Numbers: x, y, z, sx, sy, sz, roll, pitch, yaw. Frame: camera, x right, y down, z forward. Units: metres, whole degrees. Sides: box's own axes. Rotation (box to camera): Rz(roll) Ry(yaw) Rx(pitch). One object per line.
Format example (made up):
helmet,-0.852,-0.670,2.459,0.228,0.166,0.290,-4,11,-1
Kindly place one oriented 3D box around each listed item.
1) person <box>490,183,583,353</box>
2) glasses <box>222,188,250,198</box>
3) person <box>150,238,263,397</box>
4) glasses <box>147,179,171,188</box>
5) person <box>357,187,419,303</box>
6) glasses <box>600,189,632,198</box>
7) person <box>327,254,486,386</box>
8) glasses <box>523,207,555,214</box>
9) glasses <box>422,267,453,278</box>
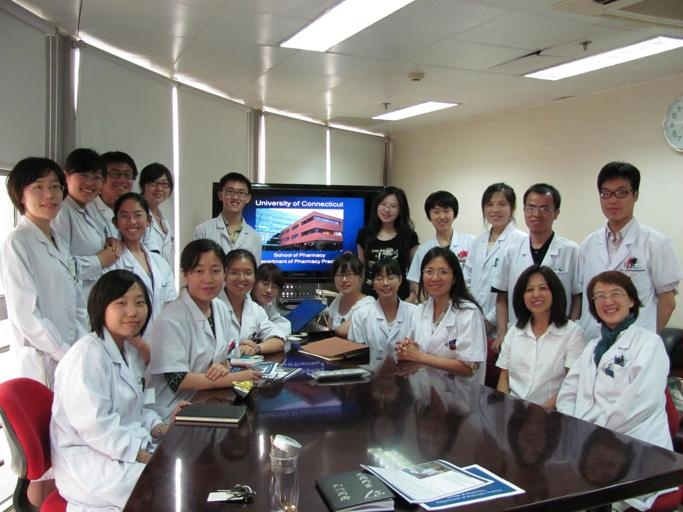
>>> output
person,1.422,0.333,3.937,0.656,1.626,0.399,-1,7,20
glasses,-0.864,-0.506,4.480,0.218,0.116,0.102,-2,10,-16
person,-0.740,0.350,2.966,0.539,0.825,0.554,9,8,33
glasses,-1.408,-0.560,4.237,0.079,0.041,0.103,-1,-6,-26
person,0.401,0.179,4.997,0.533,1.541,0.446,1,-1,7
glasses,1.717,-0.383,3.390,0.171,0.065,0.059,6,10,24
person,0.526,0.310,3.686,1.091,1.076,0.711,-1,-11,40
glasses,1.385,-0.320,3.784,0.191,0.057,0.106,5,10,20
glasses,0.586,0.110,3.303,0.161,0.057,0.040,3,10,8
